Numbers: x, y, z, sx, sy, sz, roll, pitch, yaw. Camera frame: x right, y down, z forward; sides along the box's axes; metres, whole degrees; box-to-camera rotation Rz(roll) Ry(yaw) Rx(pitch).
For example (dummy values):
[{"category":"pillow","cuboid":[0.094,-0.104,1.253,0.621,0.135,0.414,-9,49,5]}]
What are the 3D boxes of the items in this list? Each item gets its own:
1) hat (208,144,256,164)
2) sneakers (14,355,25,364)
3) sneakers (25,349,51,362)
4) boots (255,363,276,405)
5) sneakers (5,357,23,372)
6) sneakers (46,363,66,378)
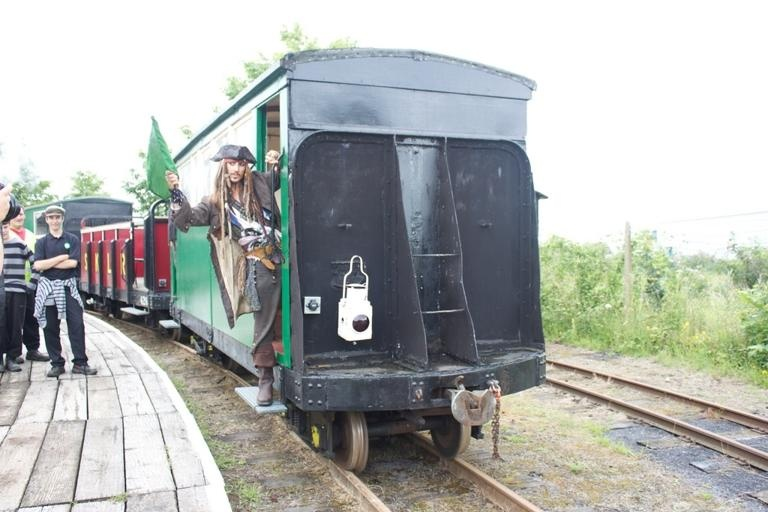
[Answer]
[{"category":"hat","cuboid":[-1.623,-1.106,6.346,0.321,0.114,0.252,0,1,-44]},{"category":"sneakers","cuboid":[-5.360,1.537,8.392,0.073,0.093,0.223,-1,-4,-32]},{"category":"sneakers","cuboid":[-5.257,1.484,8.592,0.449,0.211,0.160,0,2,-11]},{"category":"boots","cuboid":[-1.326,1.422,6.312,0.195,0.480,0.484,1,3,-9]},{"category":"sneakers","cuboid":[-5.206,1.540,8.006,0.118,0.165,0.370,2,-8,-39]},{"category":"sneakers","cuboid":[-4.482,1.573,7.789,0.097,0.113,0.261,-1,-12,11]}]
